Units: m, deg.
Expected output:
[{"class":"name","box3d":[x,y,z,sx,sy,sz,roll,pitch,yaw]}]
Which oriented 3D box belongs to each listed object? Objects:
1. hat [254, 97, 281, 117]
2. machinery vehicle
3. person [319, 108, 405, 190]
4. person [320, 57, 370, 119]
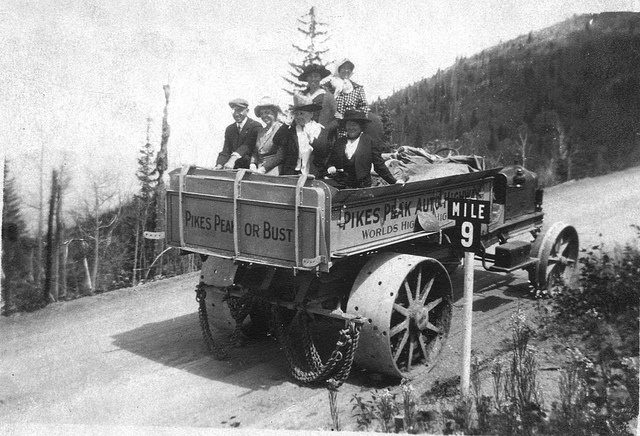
[{"class":"hat","box3d":[-0.933,-1.978,9.290,0.508,0.305,0.484,0,1,0]},{"class":"machinery vehicle","box3d":[1.581,0.404,9.748,3.648,2.985,6.754,6,14,43]},{"class":"person","box3d":[0.624,-1.103,8.602,1.404,1.339,1.091,-5,5,-6]},{"class":"person","box3d":[0.478,-2.372,10.072,0.908,1.221,0.708,13,31,19]}]
